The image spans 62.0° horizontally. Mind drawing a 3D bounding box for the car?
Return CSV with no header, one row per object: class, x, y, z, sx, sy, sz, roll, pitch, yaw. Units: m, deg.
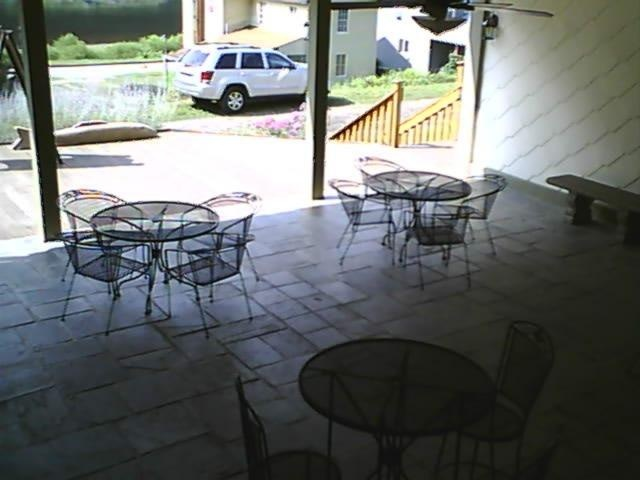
car,-1.721,-3.607,11.439,2.765,1.023,1.246,-18,40,-32
